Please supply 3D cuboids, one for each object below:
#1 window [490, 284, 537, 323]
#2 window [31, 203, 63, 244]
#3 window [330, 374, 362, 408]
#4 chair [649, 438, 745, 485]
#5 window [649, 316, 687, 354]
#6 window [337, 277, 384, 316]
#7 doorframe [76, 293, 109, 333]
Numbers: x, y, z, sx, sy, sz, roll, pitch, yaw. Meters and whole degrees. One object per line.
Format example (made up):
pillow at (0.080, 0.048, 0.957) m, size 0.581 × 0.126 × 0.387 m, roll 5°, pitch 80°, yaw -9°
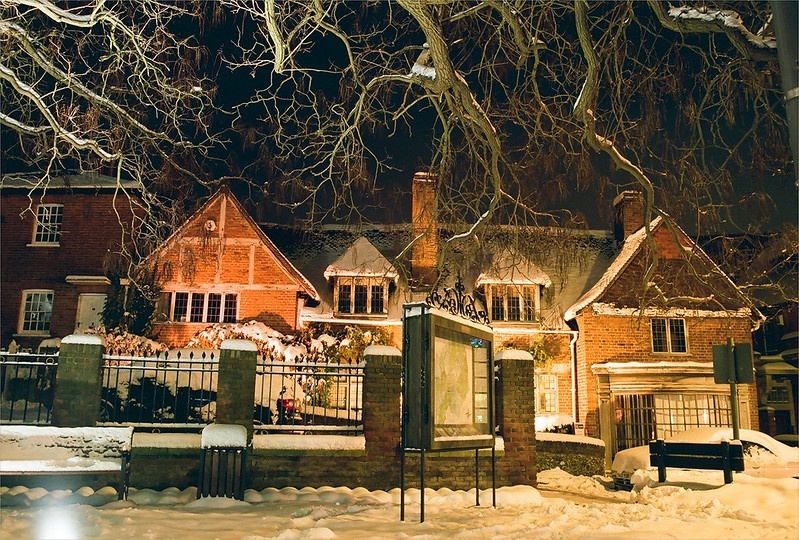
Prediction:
window at (4.803, 1.417, 33.483) m, size 1.518 × 1.267 × 0.136 m, roll 1°, pitch -16°, yaw -3°
window at (-15.032, -1.904, 33.839) m, size 0.981 × 0.095 × 1.826 m, roll -6°, pitch -45°, yaw -30°
window at (-1.739, 4.116, 27.910) m, size 1.423 × 1.529 × 0.845 m, roll 0°, pitch -3°, yaw 6°
chair at (7.002, 4.427, 18.697) m, size 2.071 × 1.238 × 0.574 m, roll 7°, pitch 10°, yaw 36°
window at (11.173, 2.698, 32.972) m, size 1.315 × 1.617 × 0.072 m, roll -1°, pitch -5°, yaw -1°
window at (-1.684, 1.119, 33.705) m, size 1.422 × 1.209 × 0.132 m, roll 0°, pitch -10°, yaw -1°
doorframe at (-12.858, 1.787, 33.029) m, size 1.024 × 2.055 × 0.216 m, roll -2°, pitch 29°, yaw -38°
